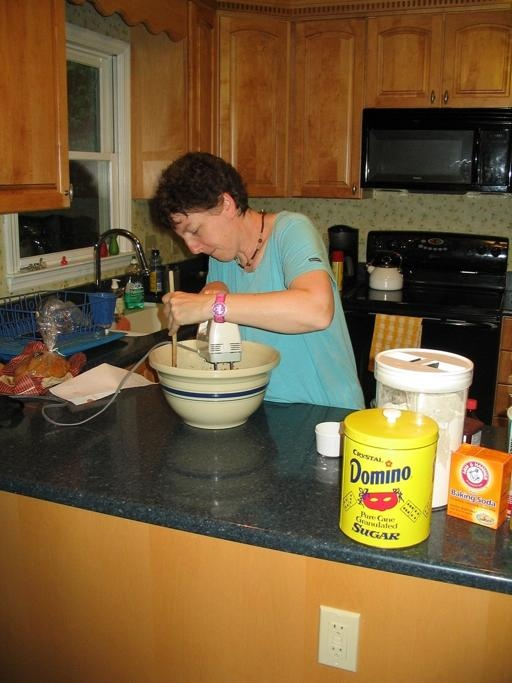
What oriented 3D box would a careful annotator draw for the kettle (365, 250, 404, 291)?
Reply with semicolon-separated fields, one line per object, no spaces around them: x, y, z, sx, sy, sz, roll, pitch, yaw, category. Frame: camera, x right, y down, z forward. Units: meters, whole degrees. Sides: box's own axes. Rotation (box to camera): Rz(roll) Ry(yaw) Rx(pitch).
0.776;-0.428;3.388;0.219;0.227;0.278;1;12;12;kettle

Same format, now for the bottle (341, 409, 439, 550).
0.168;0.177;0.738;0.124;0.175;0.120;-1;12;0;bottle

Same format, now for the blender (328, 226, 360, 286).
0.557;-0.562;3.577;0.202;0.331;0.195;-3;5;-12;blender

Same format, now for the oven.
0.851;0.076;3.189;0.837;0.759;0.527;5;23;1;oven

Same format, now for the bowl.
-0.091;0.099;1.243;0.285;0.146;0.285;0;9;0;bowl

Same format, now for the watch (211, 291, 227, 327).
-0.072;-0.067;1.138;0.026;0.057;0.038;-2;12;-4;watch
